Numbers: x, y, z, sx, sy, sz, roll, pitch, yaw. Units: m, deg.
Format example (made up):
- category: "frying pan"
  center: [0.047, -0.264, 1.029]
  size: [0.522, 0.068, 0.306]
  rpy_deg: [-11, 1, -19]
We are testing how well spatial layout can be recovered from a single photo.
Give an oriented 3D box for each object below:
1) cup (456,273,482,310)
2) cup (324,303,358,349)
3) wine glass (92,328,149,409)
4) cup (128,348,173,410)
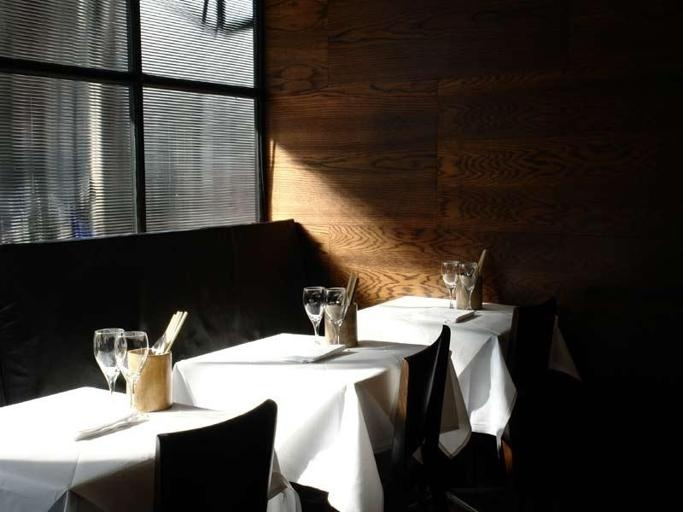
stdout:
- category: "cup"
  center: [0.796, 0.235, 3.165]
  size: [0.185, 0.199, 0.192]
  rpy_deg: [-1, -1, 0]
- category: "cup"
  center: [-0.037, 0.330, 2.426]
  size: [0.188, 0.200, 0.185]
  rpy_deg: [-1, -1, 0]
- category: "wine glass"
  center: [-0.704, 0.355, 1.678]
  size: [0.156, 0.258, 0.151]
  rpy_deg: [-4, 6, -18]
- category: "cup"
  center: [-0.640, 0.415, 1.703]
  size: [0.156, 0.166, 0.131]
  rpy_deg: [2, -4, -38]
